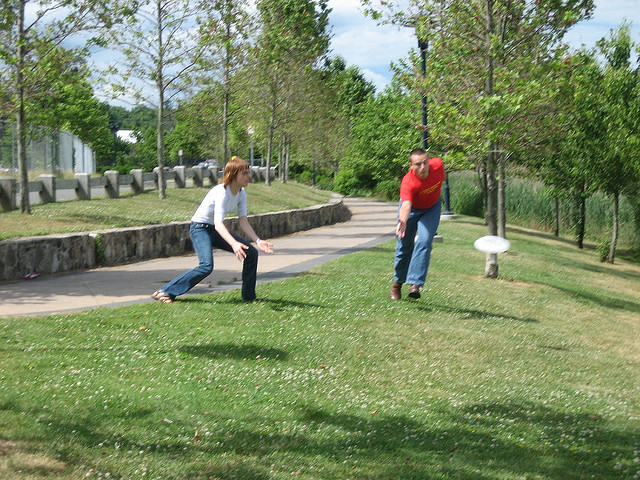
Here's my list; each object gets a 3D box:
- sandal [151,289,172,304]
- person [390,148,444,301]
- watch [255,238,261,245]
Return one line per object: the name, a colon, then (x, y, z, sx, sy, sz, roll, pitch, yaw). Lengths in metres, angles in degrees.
sandal: (-2.440, 0.877, 12.347, 0.297, 0.114, 0.098, 24, 14, 6)
person: (1.556, -0.208, 12.611, 0.725, 2.411, 1.163, 1, 4, 5)
watch: (-0.903, 0.020, 11.749, 0.112, 0.073, 0.105, 0, 3, -5)
